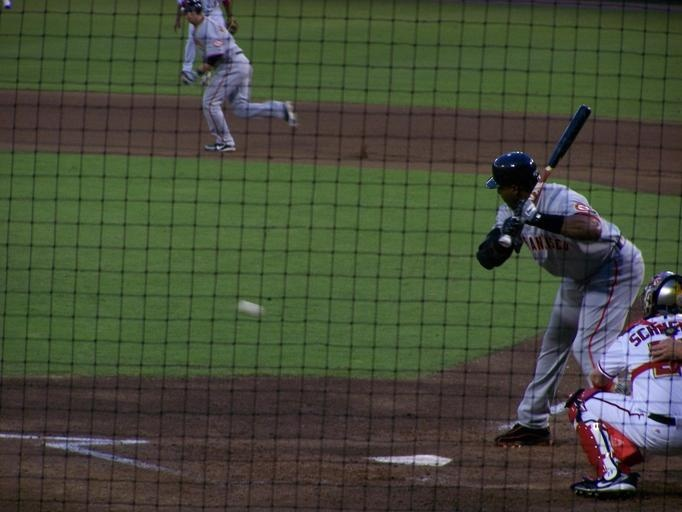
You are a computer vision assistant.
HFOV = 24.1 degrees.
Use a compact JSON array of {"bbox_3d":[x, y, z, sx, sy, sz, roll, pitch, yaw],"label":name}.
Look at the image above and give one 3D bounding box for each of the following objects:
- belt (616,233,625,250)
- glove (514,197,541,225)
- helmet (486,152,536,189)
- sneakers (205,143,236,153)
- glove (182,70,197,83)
[{"bbox_3d":[3.399,-0.170,19.553,0.062,0.135,0.171,-4,-2,40],"label":"belt"},{"bbox_3d":[2.220,-0.554,19.311,0.276,0.305,0.159,5,13,7],"label":"glove"},{"bbox_3d":[2.141,-1.064,19.699,0.726,0.360,0.519,5,26,38],"label":"helmet"},{"bbox_3d":[-2.016,-1.775,26.135,0.577,0.180,0.172,3,8,14],"label":"sneakers"},{"bbox_3d":[-2.421,-2.886,25.596,0.238,0.091,0.220,4,25,-5],"label":"glove"}]
